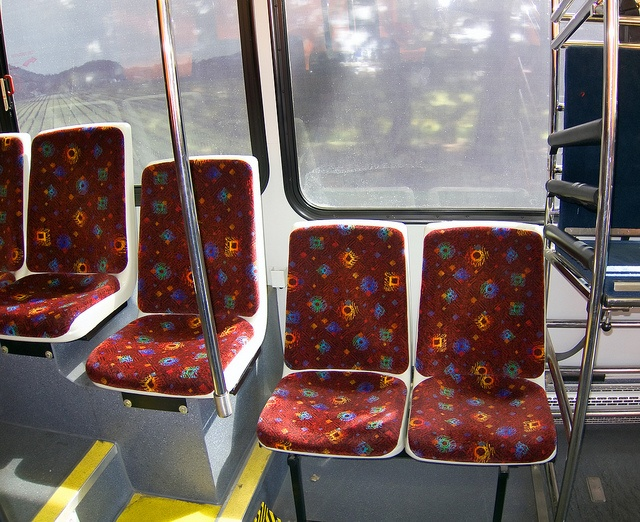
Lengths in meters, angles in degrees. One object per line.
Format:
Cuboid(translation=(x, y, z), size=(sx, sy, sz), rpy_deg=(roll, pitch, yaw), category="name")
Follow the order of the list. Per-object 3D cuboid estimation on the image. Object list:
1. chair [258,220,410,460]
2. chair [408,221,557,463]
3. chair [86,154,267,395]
Cuboid(translation=(0.088, 0.257, 2.097), size=(0.570, 0.775, 0.853), rpy_deg=(0, 8, 4), category="chair")
Cuboid(translation=(0.595, 0.281, 2.027), size=(0.503, 0.737, 0.789), rpy_deg=(-2, 9, 20), category="chair")
Cuboid(translation=(-0.604, 0.042, 2.286), size=(0.647, 0.889, 0.745), rpy_deg=(0, 14, 2), category="chair")
